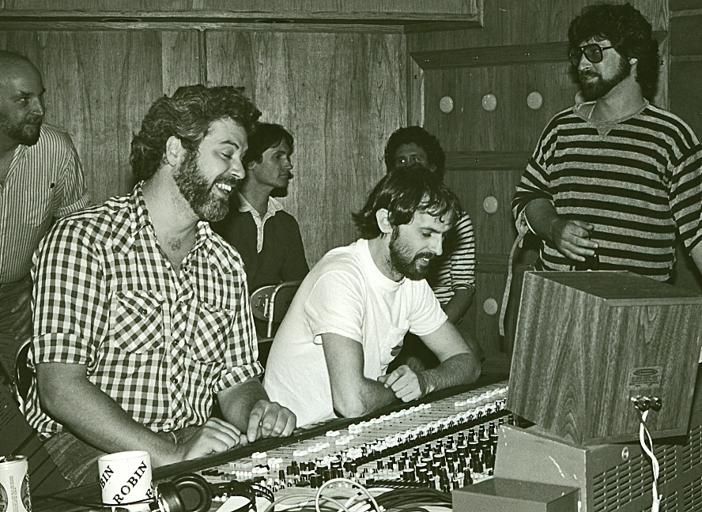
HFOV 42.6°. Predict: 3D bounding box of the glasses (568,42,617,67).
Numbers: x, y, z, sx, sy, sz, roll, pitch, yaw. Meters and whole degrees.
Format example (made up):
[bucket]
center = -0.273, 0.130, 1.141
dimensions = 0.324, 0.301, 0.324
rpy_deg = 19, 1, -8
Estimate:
[glasses]
center = 1.260, -1.074, 4.809
dimensions = 0.113, 0.109, 0.311
rpy_deg = -4, 7, -26
